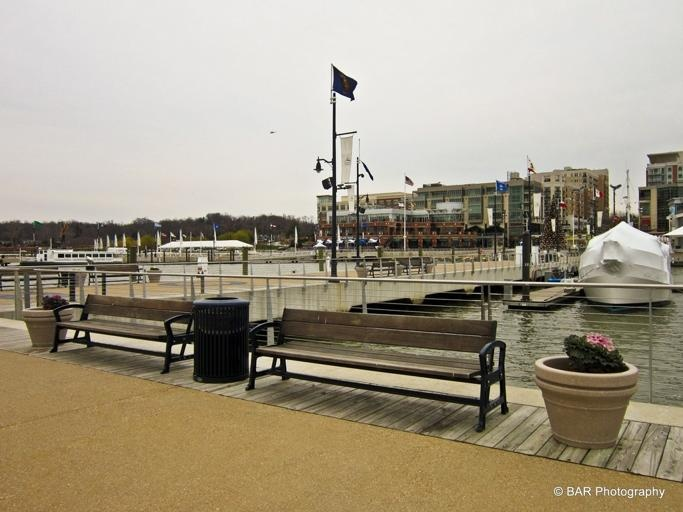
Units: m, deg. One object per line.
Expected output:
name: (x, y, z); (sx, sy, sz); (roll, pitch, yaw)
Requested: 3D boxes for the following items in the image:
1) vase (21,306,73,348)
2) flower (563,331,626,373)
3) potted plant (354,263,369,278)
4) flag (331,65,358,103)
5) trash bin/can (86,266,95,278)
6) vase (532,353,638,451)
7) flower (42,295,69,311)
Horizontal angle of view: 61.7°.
vase: (-5.768, 1.357, 11.229); (0.738, 0.635, 0.784); (0, -4, 1)
flower: (2.655, 0.951, 6.060); (0.456, 0.339, 0.428); (-2, 2, -33)
potted plant: (1.081, 0.867, 32.335); (0.735, 0.821, 0.910); (-2, -1, 42)
flag: (0.068, -8.042, 26.844); (0.824, 1.432, 1.726); (0, 5, 12)
trash bin/can: (-8.394, 0.531, 19.081); (0.246, 0.144, 0.594); (-2, 7, -28)
vase: (2.557, 1.489, 6.151); (0.847, 0.701, 0.899); (0, -3, 1)
flower: (-5.655, 0.910, 11.212); (0.472, 0.295, 0.489); (-4, -5, 45)
